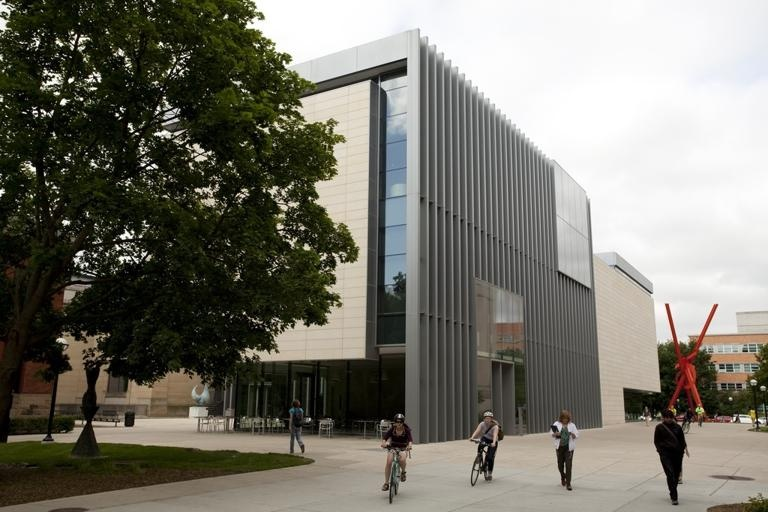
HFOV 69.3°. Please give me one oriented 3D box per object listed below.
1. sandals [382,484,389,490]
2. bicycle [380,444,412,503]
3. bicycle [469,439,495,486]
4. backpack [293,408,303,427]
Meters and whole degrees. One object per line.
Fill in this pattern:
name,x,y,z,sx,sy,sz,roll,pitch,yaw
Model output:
sandals,0.056,6.233,15.048,0.183,0.099,0.387,-1,-12,6
bicycle,0.343,5.992,15.417,0.788,1.136,1.897,4,-4,7
bicycle,3.035,6.666,18.180,0.929,1.289,2.123,-5,-15,2
backpack,-3.644,6.708,23.242,0.493,0.859,0.586,5,-19,-13
